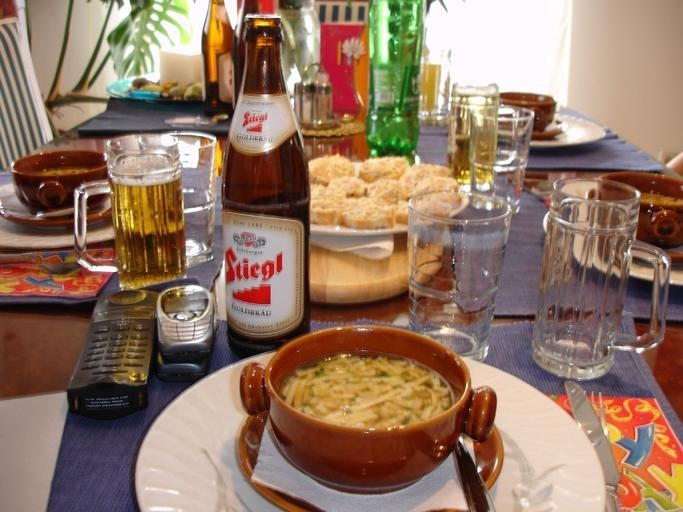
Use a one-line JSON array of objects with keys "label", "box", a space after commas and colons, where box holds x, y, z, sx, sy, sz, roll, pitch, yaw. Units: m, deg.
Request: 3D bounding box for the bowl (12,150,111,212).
[{"label": "bowl", "box": [-0.519, -0.152, 0.972, 0.128, 0.086, 0.149, 2, 15, 0]}]

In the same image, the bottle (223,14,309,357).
[{"label": "bottle", "box": [-0.090, -0.081, 0.628, 0.109, 0.382, 0.151, -2, 23, -10]}]

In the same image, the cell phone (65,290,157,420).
[{"label": "cell phone", "box": [-0.258, 0.106, 0.601, 0.064, 0.052, 0.161, 2, 21, -8]}]

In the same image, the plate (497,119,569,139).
[{"label": "plate", "box": [0.459, -0.309, 1.266, 0.107, 0.027, 0.111, -9, 22, -21]}]

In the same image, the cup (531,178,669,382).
[{"label": "cup", "box": [0.327, 0.024, 0.658, 0.143, 0.212, 0.164, 8, 23, 13]}]

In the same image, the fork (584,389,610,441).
[{"label": "fork", "box": [0.272, 0.168, 0.569, 0.016, 0.009, 0.119, -8, 9, 16]}]

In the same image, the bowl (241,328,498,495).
[{"label": "bowl", "box": [0.020, 0.138, 0.463, 0.182, 0.083, 0.165, -13, 28, -31]}]
